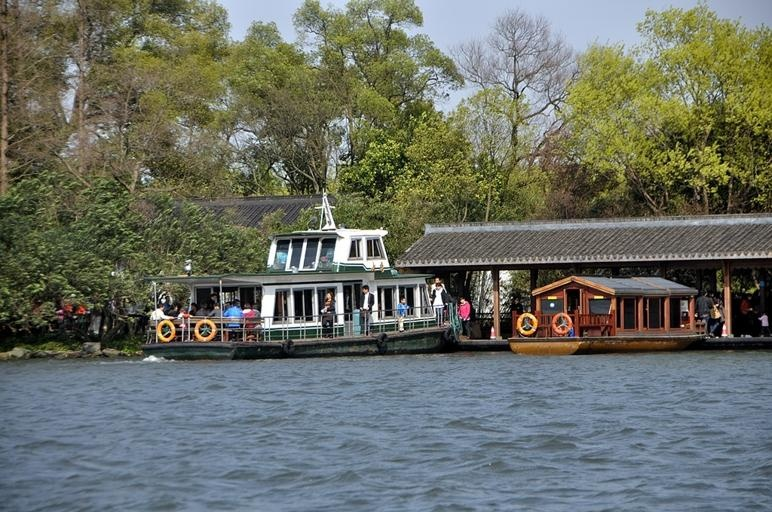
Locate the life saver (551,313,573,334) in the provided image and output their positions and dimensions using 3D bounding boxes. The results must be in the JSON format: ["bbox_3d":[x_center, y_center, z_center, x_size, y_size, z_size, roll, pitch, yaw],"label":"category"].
[{"bbox_3d":[7.242,2.802,37.649,0.878,0.907,0.278,-1,7,1],"label":"life saver"}]

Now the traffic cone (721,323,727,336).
[{"bbox_3d":[14.438,3.161,39.149,0.189,0.464,0.442,-1,6,3],"label":"traffic cone"}]

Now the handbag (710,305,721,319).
[{"bbox_3d":[14.040,2.403,39.127,0.363,0.634,0.168,-3,-9,-13],"label":"handbag"}]

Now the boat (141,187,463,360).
[{"bbox_3d":[-3.281,1.002,37.170,11.604,6.736,3.059,-3,7,-22],"label":"boat"}]
